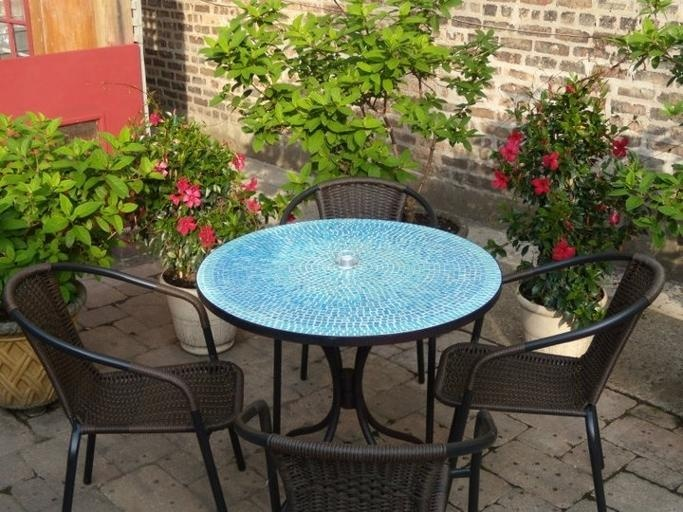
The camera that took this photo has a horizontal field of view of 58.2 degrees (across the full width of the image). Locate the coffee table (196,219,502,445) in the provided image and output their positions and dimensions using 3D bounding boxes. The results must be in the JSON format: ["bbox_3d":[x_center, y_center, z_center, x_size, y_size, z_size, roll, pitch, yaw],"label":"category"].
[{"bbox_3d":[0.045,0.113,2.483,1.159,0.791,1.061,-12,33,-18],"label":"coffee table"}]

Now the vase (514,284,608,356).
[{"bbox_3d":[1.185,0.407,3.470,0.509,0.328,0.470,-1,16,-4],"label":"vase"}]

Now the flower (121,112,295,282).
[{"bbox_3d":[-0.944,-0.250,3.747,0.820,0.763,0.690,31,42,26],"label":"flower"}]
